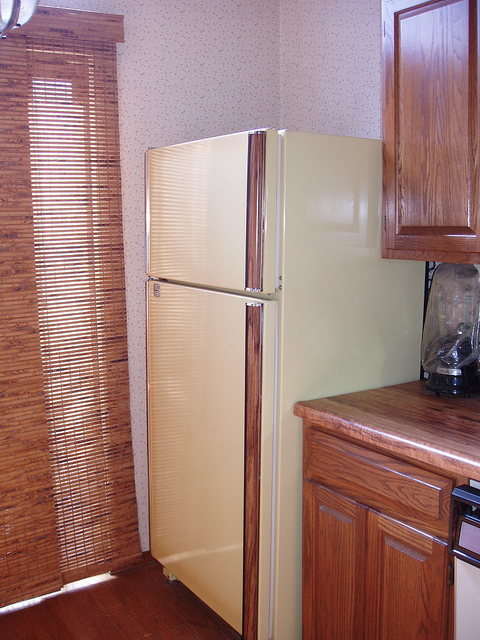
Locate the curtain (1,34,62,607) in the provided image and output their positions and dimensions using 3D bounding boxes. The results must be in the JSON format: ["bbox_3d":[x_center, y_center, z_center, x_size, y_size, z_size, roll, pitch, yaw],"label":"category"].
[{"bbox_3d":[-0.768,0.040,1.820,0.202,1.990,0.109,-3,4,-24],"label":"curtain"}]
